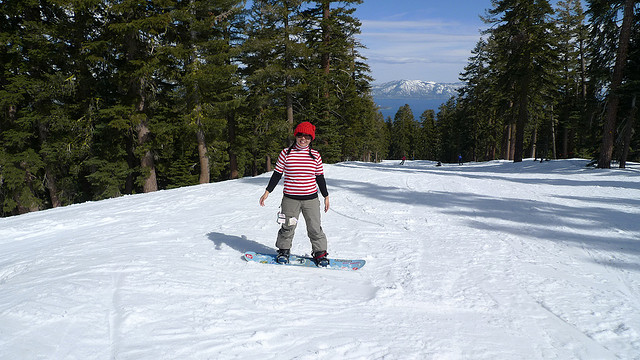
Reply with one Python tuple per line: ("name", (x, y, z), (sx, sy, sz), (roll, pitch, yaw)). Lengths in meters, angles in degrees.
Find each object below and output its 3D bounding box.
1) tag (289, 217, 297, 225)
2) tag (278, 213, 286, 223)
("tag", (-1.237, 1.786, 20.308), (0.352, 0.305, 0.092), (13, 8, -2))
("tag", (-1.695, 1.674, 20.317), (0.318, 0.376, 0.397), (1, -6, -14))
